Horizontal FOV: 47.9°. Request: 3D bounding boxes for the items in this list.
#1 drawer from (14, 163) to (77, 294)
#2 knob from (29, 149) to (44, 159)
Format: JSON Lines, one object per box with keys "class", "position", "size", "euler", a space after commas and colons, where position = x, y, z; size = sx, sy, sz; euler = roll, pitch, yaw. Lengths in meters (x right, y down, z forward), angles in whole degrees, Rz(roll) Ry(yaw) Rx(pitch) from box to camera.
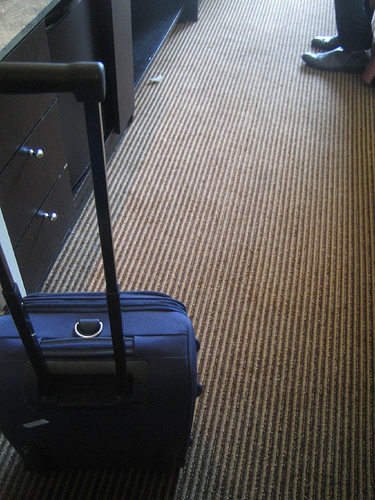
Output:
{"class": "drawer", "position": [-0.394, -0.057, 1.158], "size": [0.072, 0.239, 0.258], "euler": [7, 54, 5]}
{"class": "knob", "position": [-0.364, -0.238, 1.026], "size": [0.025, 0.022, 0.018], "euler": [-1, 19, 22]}
